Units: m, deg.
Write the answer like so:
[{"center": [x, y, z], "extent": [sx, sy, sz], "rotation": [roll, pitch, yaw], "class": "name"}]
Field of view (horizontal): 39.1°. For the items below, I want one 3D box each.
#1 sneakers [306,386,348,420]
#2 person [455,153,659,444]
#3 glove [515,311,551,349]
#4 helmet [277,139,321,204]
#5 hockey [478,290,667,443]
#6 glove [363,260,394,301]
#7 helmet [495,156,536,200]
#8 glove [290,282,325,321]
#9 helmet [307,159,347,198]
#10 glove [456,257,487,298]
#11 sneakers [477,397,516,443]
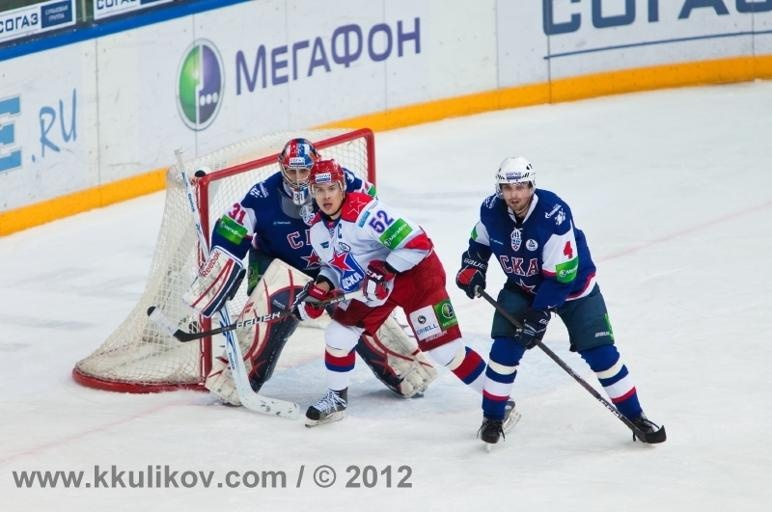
[{"center": [-0.370, 0.957, 7.091], "extent": [0.309, 0.192, 0.101], "rotation": [-7, 17, -31], "class": "sneakers"}, {"center": [1.014, 0.268, 6.777], "extent": [1.093, 1.775, 0.658], "rotation": [-5, 14, 2], "class": "person"}, {"center": [0.910, 0.445, 6.710], "extent": [0.162, 0.268, 0.114], "rotation": [37, 1, 0], "class": "glove"}, {"center": [-0.554, -0.552, 7.210], "extent": [0.288, 0.350, 0.384], "rotation": [-5, 13, -6], "class": "helmet"}, {"center": [1.211, 0.757, 7.046], "extent": [1.211, 0.209, 0.190], "rotation": [41, 32, 10], "class": "hockey"}, {"center": [-0.060, 0.165, 6.908], "extent": [0.193, 0.245, 0.112], "rotation": [1, 17, -29], "class": "glove"}, {"center": [0.799, -0.489, 6.680], "extent": [0.216, 0.207, 0.231], "rotation": [1, 35, 9], "class": "helmet"}, {"center": [-0.498, 0.312, 7.076], "extent": [0.117, 0.265, 0.190], "rotation": [16, 35, -47], "class": "glove"}, {"center": [-0.363, -0.486, 6.848], "extent": [0.190, 0.218, 0.226], "rotation": [-5, -11, 5], "class": "helmet"}, {"center": [0.577, 0.153, 6.974], "extent": [0.224, 0.207, 0.101], "rotation": [5, -3, 39], "class": "glove"}, {"center": [0.719, 1.045, 6.874], "extent": [0.141, 0.166, 0.378], "rotation": [20, 20, 14], "class": "sneakers"}]
